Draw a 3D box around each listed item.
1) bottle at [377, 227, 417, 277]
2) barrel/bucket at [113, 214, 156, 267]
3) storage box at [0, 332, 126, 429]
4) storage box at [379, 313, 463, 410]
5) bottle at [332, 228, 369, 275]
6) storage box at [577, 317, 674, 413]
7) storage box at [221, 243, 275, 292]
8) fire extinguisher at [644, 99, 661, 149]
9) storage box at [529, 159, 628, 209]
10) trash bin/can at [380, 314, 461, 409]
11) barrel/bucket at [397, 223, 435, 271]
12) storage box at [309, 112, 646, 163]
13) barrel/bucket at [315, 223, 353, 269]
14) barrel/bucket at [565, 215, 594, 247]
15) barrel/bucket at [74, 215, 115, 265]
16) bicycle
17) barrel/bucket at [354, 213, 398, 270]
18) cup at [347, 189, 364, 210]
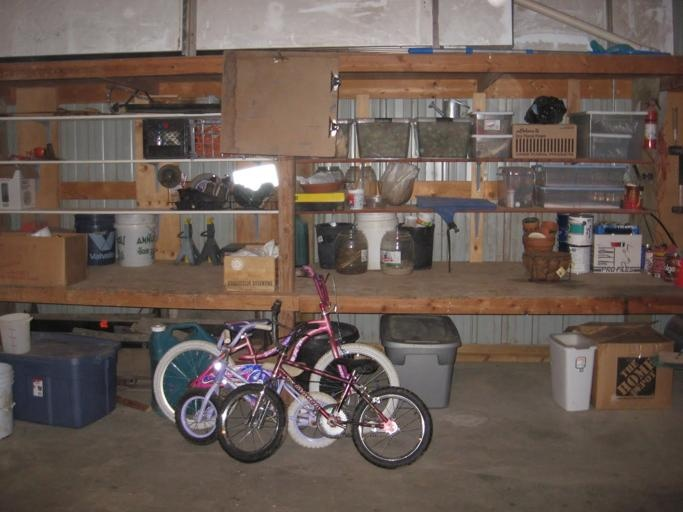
[{"bbox_3d":[0.497,-0.026,6.431,0.340,0.391,0.344,3,4,25],"label":"bottle"},{"bbox_3d":[-1.886,-0.179,6.880,0.349,0.547,0.366,-2,-3,0],"label":"barrel/bucket"},{"bbox_3d":[-2.197,0.985,5.931,0.815,0.492,0.556,5,4,13],"label":"storage box"},{"bbox_3d":[0.633,0.781,6.014,0.765,0.627,0.677,0,6,2],"label":"storage box"},{"bbox_3d":[0.081,-0.025,6.483,0.294,0.411,0.376,1,5,5],"label":"bottle"},{"bbox_3d":[2.311,0.883,6.140,0.632,0.630,0.650,-1,5,8],"label":"storage box"},{"bbox_3d":[-0.722,0.118,6.031,0.322,0.203,0.470,-1,8,0],"label":"storage box"},{"bbox_3d":[2.753,-1.175,6.598,0.091,0.420,0.238,2,5,33],"label":"fire extinguisher"},{"bbox_3d":[2.138,-0.629,6.772,0.581,0.286,0.434,0,5,2],"label":"storage box"},{"bbox_3d":[0.641,0.916,6.078,0.708,0.566,0.632,-1,5,-9],"label":"trash bin/can"},{"bbox_3d":[0.708,-0.096,6.737,0.368,0.411,0.368,0,9,0],"label":"barrel/bucket"},{"bbox_3d":[1.588,-1.054,6.617,2.296,0.454,0.273,-1,5,1],"label":"storage box"},{"bbox_3d":[-0.101,-0.108,6.821,0.374,0.388,0.379,0,8,0],"label":"barrel/bucket"},{"bbox_3d":[2.085,-0.220,6.533,0.247,0.282,0.249,1,0,0],"label":"barrel/bucket"},{"bbox_3d":[-2.241,-0.181,6.911,0.342,0.503,0.348,-3,2,0],"label":"barrel/bucket"},{"bbox_3d":[-0.539,0.949,6.004,2.530,1.593,1.049,4,-8,8],"label":"bicycle"},{"bbox_3d":[0.300,-0.154,6.886,0.432,0.491,0.440,0,5,0],"label":"barrel/bucket"},{"bbox_3d":[0.139,-0.510,6.624,0.150,0.184,0.199,-1,5,0],"label":"cup"}]
